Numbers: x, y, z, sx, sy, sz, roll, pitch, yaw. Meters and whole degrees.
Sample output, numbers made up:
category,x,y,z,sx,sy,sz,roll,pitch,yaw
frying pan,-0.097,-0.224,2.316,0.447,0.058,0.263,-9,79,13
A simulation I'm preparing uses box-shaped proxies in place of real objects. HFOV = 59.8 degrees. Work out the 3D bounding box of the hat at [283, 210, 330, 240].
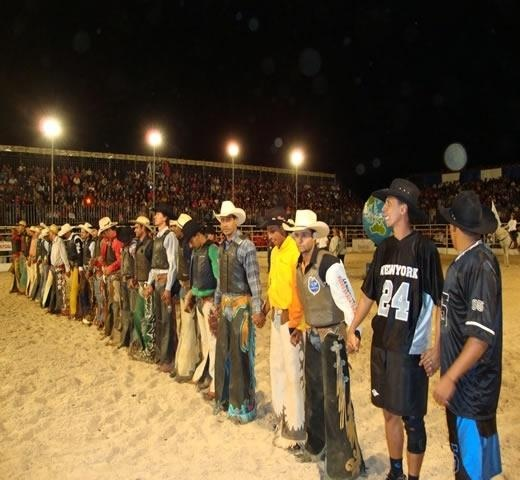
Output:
category,x,y,z,sx,sy,sz,roll,pitch,yaw
hat,0.472,-0.164,4.349,0.210,0.313,0.417,-6,12,-31

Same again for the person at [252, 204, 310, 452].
category,x,y,z,sx,sy,sz,roll,pitch,yaw
person,0.231,0.974,4.899,0.571,2.132,0.601,0,1,-29
